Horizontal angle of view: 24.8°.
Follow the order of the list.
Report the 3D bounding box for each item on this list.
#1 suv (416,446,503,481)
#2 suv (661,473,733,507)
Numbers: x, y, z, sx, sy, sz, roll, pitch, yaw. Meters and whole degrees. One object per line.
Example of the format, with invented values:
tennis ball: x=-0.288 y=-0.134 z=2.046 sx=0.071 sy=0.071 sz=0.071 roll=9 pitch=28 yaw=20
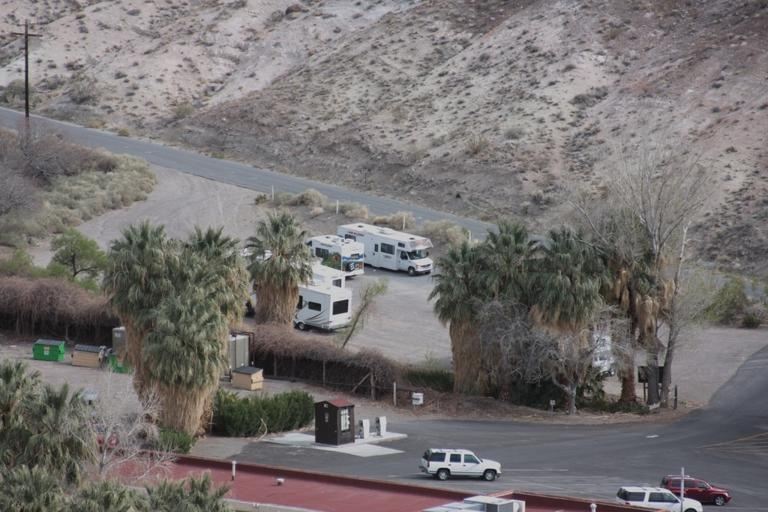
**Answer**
suv: x=7.345 y=20.878 z=174.586 sx=6.078 sy=2.760 sz=3.499 roll=-1 pitch=5 yaw=-3
suv: x=30.845 y=22.937 z=172.788 sx=5.696 sy=2.680 sz=3.038 roll=2 pitch=12 yaw=1
